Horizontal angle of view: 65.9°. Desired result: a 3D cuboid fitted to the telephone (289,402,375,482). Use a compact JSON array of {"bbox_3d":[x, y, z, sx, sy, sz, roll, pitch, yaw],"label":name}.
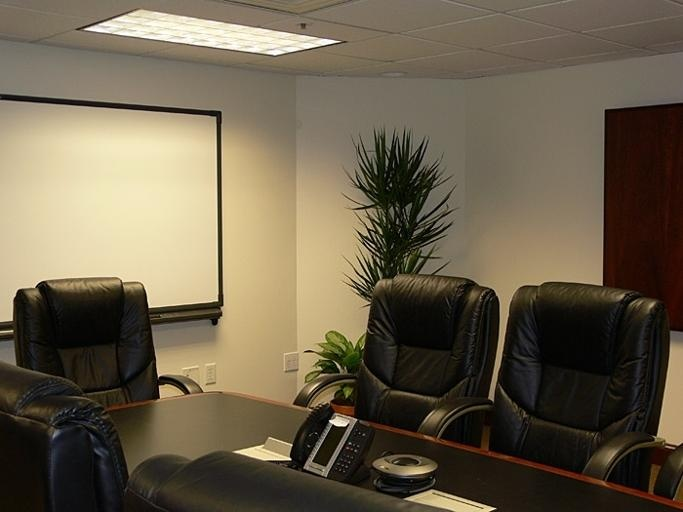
[{"bbox_3d":[-0.032,0.640,1.797,0.190,0.203,0.277,-2,-1,-44],"label":"telephone"}]
